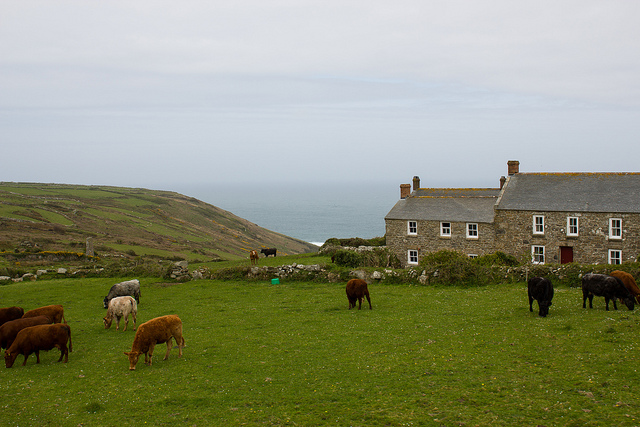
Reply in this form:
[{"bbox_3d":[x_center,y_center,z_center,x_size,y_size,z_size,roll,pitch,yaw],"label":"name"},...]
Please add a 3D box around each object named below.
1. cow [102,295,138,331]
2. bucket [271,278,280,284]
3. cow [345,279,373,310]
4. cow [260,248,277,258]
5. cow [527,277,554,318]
[{"bbox_3d":[-15.578,7.879,54.459,4.192,2.574,1.192,-14,-11,39],"label":"cow"},{"bbox_3d":[-4.425,6.693,69.280,0.688,0.358,0.448,-1,-7,4],"label":"bucket"},{"bbox_3d":[3.162,6.586,57.964,1.935,2.462,2.182,-3,7,-5],"label":"cow"},{"bbox_3d":[-7.127,5.413,98.438,1.793,1.101,2.214,-3,6,-16],"label":"cow"},{"bbox_3d":[16.601,6.167,52.772,0.883,2.776,2.211,-5,7,-18],"label":"cow"}]
